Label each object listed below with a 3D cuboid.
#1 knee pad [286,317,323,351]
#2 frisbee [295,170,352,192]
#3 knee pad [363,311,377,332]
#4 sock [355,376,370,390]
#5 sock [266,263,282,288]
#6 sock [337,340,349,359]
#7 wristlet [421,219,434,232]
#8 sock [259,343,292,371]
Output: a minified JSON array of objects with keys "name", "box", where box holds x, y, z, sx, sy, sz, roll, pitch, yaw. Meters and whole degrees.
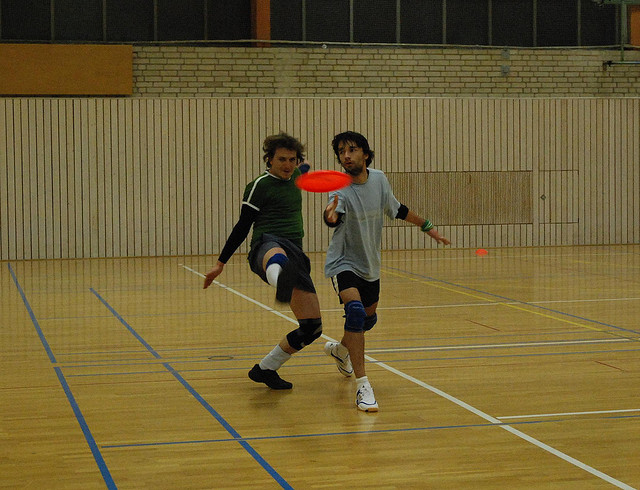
[{"name":"knee pad","box":[-0.104,0.607,5.278,0.146,0.109,0.263,34,-44,-20]},{"name":"frisbee","box":[0.011,-0.421,5.146,0.202,0.140,0.415,-1,6,-39]},{"name":"knee pad","box":[0.341,0.538,5.359,0.104,0.118,0.130,-2,-8,1]},{"name":"sock","box":[0.278,0.909,5.052,0.073,0.104,0.190,3,5,3]},{"name":"sock","box":[-0.296,0.189,4.830,0.095,0.113,0.124,-1,0,-2]},{"name":"sock","box":[0.165,0.772,5.567,0.076,0.136,0.116,3,5,0]},{"name":"wristlet","box":[0.760,-0.122,5.468,0.074,0.044,0.085,-39,-4,-40]},{"name":"sock","box":[-0.319,0.794,5.386,0.231,0.203,0.117,7,6,42]}]
